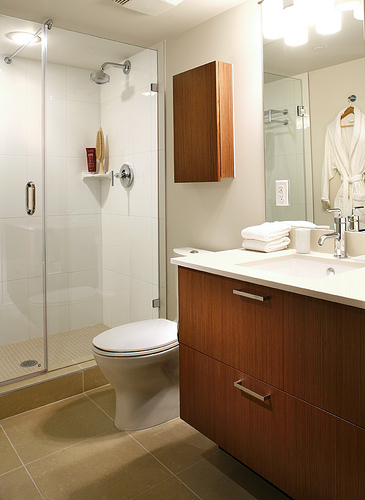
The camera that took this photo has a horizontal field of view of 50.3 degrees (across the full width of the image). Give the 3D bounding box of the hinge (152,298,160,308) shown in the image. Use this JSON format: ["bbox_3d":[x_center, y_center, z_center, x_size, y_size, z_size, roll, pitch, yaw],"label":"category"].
[{"bbox_3d":[-0.186,0.359,2.666,0.056,0.060,0.022,-2,5,-43],"label":"hinge"}]

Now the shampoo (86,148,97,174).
[{"bbox_3d":[-0.557,-0.542,2.370,0.022,0.152,0.071,2,4,42],"label":"shampoo"}]

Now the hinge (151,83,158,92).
[{"bbox_3d":[-0.188,-1.056,2.530,0.051,0.051,0.017,3,-4,-41],"label":"hinge"}]

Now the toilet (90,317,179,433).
[{"bbox_3d":[-0.155,0.632,1.990,0.533,0.451,0.451,-5,4,-32],"label":"toilet"}]

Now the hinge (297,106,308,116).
[{"bbox_3d":[0.514,-0.589,1.659,0.032,0.051,0.046,6,12,36],"label":"hinge"}]

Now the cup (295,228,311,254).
[{"bbox_3d":[0.487,-0.035,1.570,0.055,0.099,0.048,0,3,16],"label":"cup"}]
